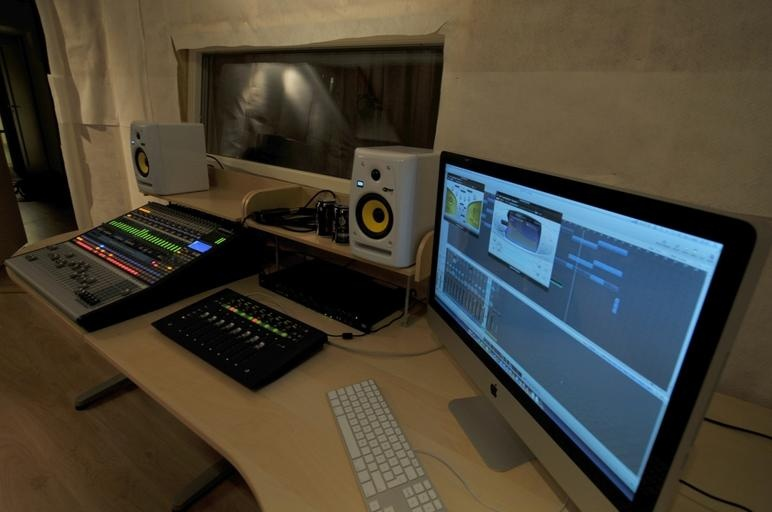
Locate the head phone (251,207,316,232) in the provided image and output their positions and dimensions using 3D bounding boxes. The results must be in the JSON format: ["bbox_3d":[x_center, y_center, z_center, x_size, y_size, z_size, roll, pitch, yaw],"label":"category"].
[{"bbox_3d":[-0.418,-0.155,2.187,0.218,0.035,0.133,0,25,-3],"label":"head phone"}]

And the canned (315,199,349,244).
[{"bbox_3d":[-0.207,-0.130,2.038,0.188,0.149,0.106,16,19,37],"label":"canned"}]

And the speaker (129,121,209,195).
[{"bbox_3d":[-1.045,-0.551,2.606,0.352,0.399,0.400,-9,19,-32],"label":"speaker"}]
